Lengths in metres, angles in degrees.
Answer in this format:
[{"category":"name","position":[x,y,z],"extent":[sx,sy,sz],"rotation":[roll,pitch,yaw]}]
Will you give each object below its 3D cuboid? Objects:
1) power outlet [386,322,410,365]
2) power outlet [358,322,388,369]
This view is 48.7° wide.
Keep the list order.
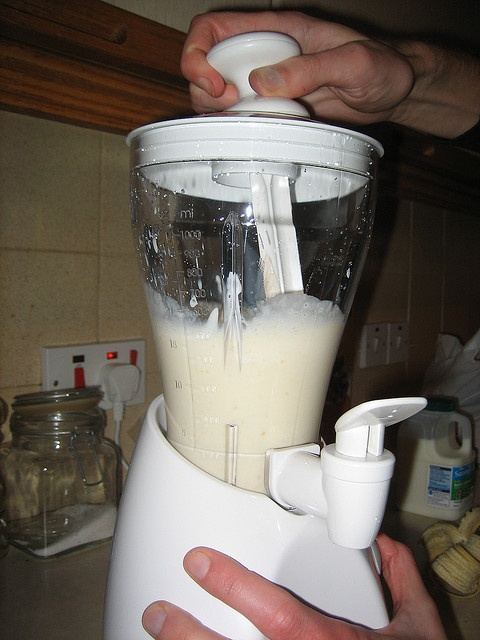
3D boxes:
[{"category":"power outlet","position":[0.367,0.052,1.210],"extent":[0.021,0.090,0.080],"rotation":[7,-8,-16]},{"category":"power outlet","position":[0.282,0.052,1.131],"extent":[0.017,0.095,0.103],"rotation":[1,5,43]}]
